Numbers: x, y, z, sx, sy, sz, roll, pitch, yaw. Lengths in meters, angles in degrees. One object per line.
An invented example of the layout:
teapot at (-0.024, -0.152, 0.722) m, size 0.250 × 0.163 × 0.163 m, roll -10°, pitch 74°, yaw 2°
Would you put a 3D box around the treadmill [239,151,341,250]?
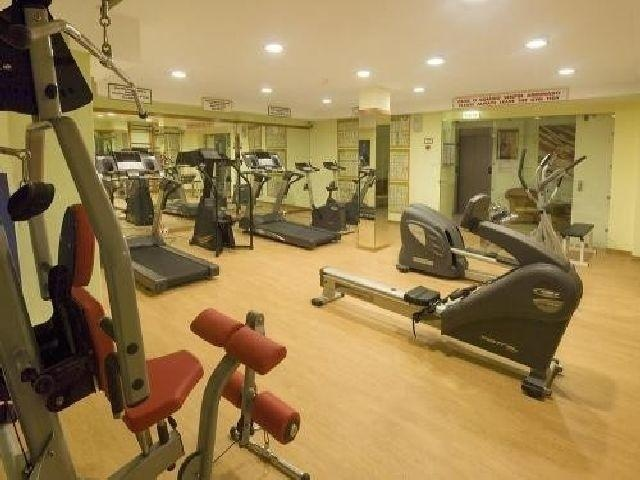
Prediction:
treadmill at (-0.579, -0.657, 8.145) m, size 1.553 × 1.200 × 1.161 m, roll 12°, pitch 17°, yaw 39°
